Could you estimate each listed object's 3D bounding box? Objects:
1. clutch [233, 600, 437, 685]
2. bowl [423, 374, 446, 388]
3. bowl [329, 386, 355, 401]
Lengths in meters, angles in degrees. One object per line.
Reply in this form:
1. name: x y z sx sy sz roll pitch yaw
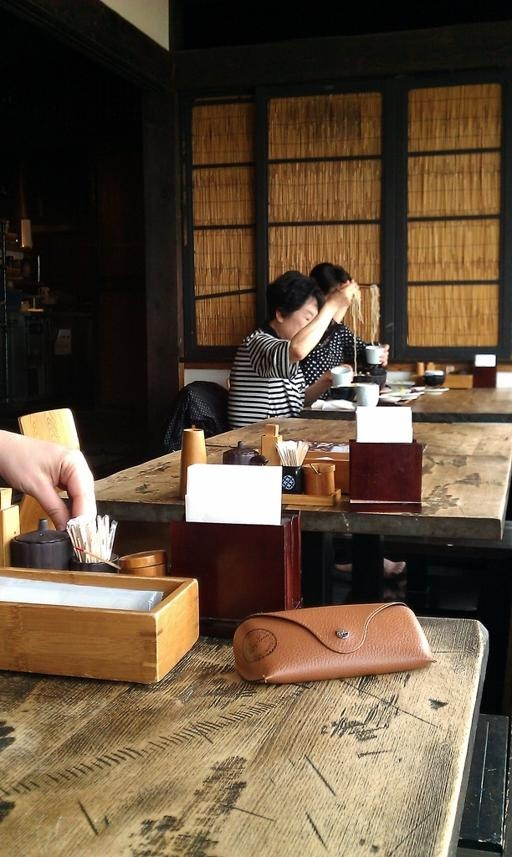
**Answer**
1. clutch: 0.079 0.212 0.642 0.200 0.060 0.113 -1 0 -7
2. bowl: 1.015 -0.279 3.671 0.092 0.074 0.096 -3 1 0
3. bowl: 0.378 -0.156 2.857 0.072 0.059 0.069 -1 3 0
